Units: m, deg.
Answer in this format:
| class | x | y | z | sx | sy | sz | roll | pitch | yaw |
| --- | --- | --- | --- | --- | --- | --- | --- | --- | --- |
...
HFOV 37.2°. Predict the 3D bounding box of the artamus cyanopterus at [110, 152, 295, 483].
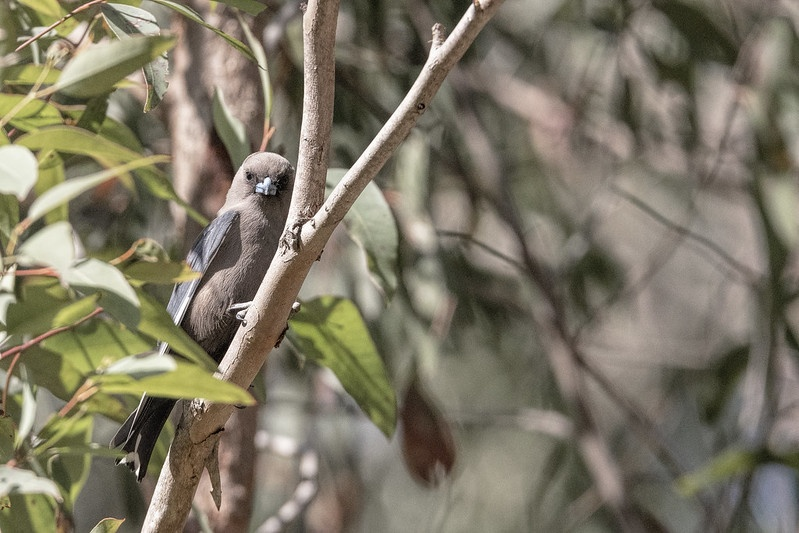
| class | x | y | z | sx | sy | sz | roll | pitch | yaw |
| --- | --- | --- | --- | --- | --- | --- | --- | --- | --- |
| artamus cyanopterus | -0.525 | 0.120 | 3.220 | 0.296 | 0.791 | 0.693 | 2 | 13 | 21 |
